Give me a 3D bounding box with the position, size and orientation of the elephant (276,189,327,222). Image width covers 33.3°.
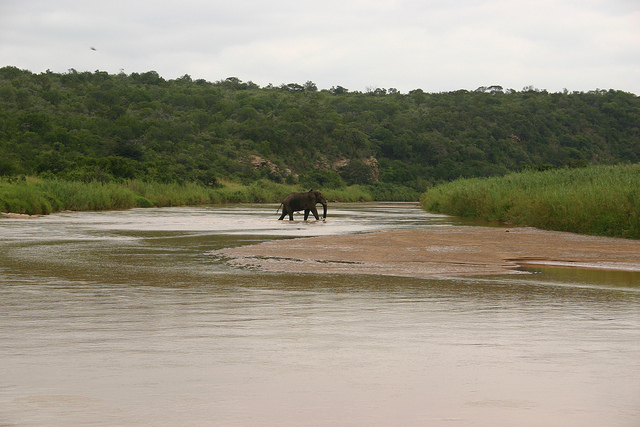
[{"bbox_3d":[-0.737,-0.338,47.738,2.548,1.295,0.814,-3,-1,-16],"label":"elephant"}]
